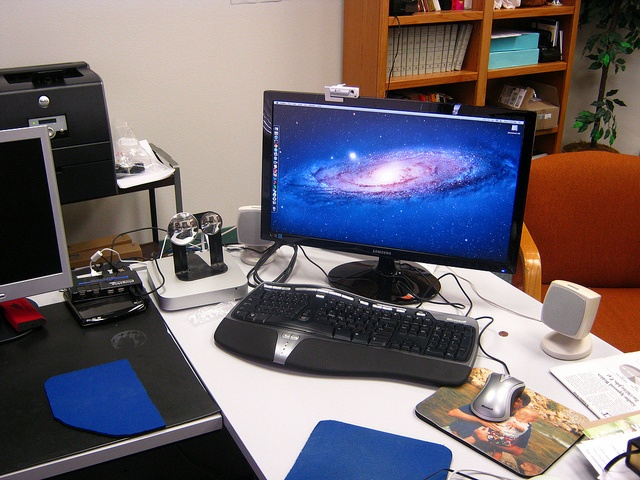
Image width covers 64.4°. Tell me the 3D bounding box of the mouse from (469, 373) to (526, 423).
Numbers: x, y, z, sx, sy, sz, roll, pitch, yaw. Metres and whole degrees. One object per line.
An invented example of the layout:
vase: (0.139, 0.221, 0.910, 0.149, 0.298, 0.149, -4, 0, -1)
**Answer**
mouse: (0.407, 0.336, 1.153, 0.070, 0.037, 0.121, 13, 41, 33)

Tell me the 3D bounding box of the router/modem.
router/modem: (-0.374, 0.052, 1.617, 0.373, 0.126, 0.306, -9, 26, -26)

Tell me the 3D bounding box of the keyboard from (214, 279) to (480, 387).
keyboard: (0.053, 0.252, 1.375, 0.699, 0.102, 0.390, 7, 18, 24)
